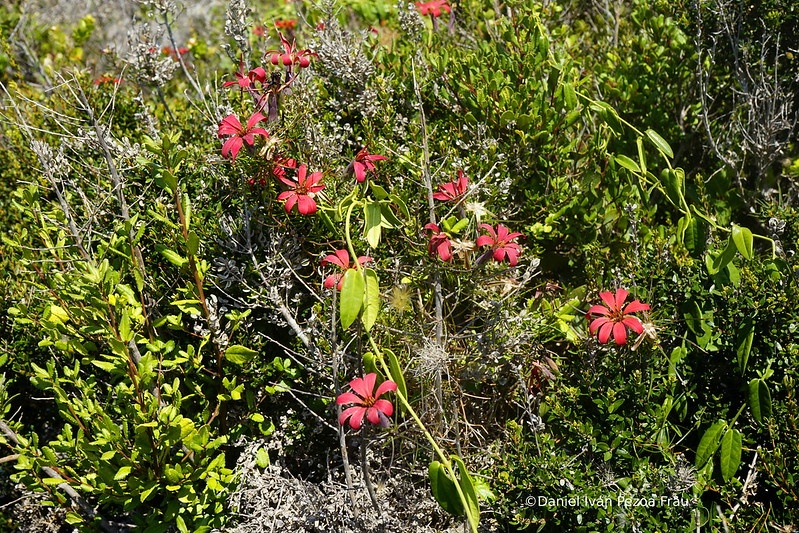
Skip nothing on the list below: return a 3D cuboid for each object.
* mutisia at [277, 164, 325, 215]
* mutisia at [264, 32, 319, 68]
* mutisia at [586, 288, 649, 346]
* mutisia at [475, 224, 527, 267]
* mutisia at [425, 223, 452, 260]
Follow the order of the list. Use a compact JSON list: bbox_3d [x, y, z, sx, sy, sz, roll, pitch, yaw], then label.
[{"bbox_3d":[-0.474,-0.368,3.307,0.225,0.076,0.239,14,71,6],"label":"mutisia"},{"bbox_3d":[-0.569,-1.087,3.546,0.228,0.128,0.240,-25,57,-20],"label":"mutisia"},{"bbox_3d":[1.051,0.264,3.257,0.289,0.122,0.303,0,24,13],"label":"mutisia"},{"bbox_3d":[0.476,-0.098,3.363,0.293,0.335,0.120,28,85,8],"label":"mutisia"},{"bbox_3d":[0.191,-0.113,3.258,0.102,0.076,0.198,-33,54,20],"label":"mutisia"}]
